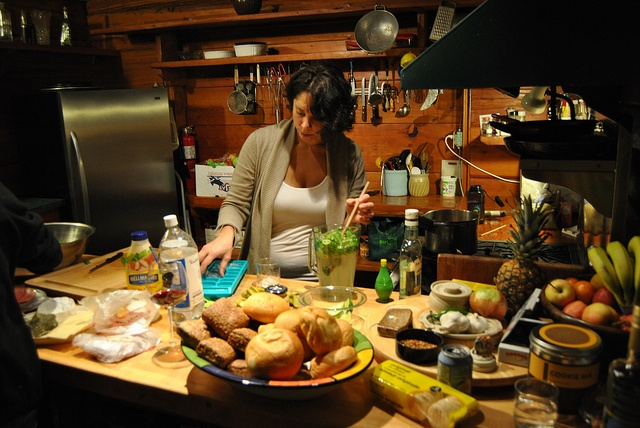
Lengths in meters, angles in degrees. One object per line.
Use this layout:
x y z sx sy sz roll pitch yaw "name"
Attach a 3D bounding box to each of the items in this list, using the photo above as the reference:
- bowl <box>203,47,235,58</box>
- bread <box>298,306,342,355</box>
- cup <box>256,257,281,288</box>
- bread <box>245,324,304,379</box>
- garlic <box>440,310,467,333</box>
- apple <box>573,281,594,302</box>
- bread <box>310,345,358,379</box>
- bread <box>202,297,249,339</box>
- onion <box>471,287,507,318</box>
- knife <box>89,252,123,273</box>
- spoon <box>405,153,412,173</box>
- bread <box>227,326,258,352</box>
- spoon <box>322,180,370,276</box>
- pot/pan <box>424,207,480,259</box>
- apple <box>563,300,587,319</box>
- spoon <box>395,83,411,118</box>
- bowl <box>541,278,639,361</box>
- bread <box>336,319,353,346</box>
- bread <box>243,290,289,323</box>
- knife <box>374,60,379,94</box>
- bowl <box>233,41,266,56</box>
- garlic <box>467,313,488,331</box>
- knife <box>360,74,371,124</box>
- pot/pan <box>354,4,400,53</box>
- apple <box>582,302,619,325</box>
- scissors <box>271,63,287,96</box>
-0.898 -1.389 3.936 0.327 0.074 0.101 3 15 25 "bowl"
0.007 0.355 1.417 0.102 0.155 0.047 -29 4 -1 "bread"
-0.200 0.254 1.893 0.100 0.108 0.102 0 2 0 "cup"
-0.131 0.412 1.380 0.147 0.110 0.145 0 2 0 "bread"
0.448 0.360 1.512 0.074 0.048 0.073 -4 14 -31 "garlic"
0.878 0.258 1.495 0.063 0.073 0.061 4 -19 -5 "apple"
0.037 0.441 1.370 0.099 0.036 0.098 -14 -11 -37 "bread"
-0.312 0.338 1.487 0.126 0.058 0.122 35 37 28 "bread"
0.596 0.313 1.622 0.110 0.096 0.102 -14 -3 -21 "onion"
-1.028 0.238 2.182 0.025 0.025 0.186 14 26 23 "knife"
0.766 -0.449 3.833 0.028 0.109 0.116 1 -10 19 "spoon"
-0.244 0.389 1.410 0.076 0.038 0.076 17 25 4 "bread"
0.096 0.058 1.964 0.119 0.388 0.107 33 -13 -32 "spoon"
0.681 0.117 2.429 0.295 0.217 0.413 4 15 27 "pot/pan"
0.815 0.304 1.461 0.060 0.052 0.054 -12 34 -22 "apple"
0.726 -0.941 3.865 0.132 0.222 0.081 -7 14 -12 "spoon"
0.826 0.327 1.365 0.234 0.104 0.235 9 0 0 "bowl"
0.085 0.372 1.456 0.080 0.075 0.078 0 19 3 "bread"
-0.177 0.312 1.529 0.130 0.070 0.094 7 -5 17 "bread"
0.482 -1.155 3.786 0.027 0.268 0.029 0 -2 -2 "knife"
-0.582 -1.402 3.847 0.278 0.123 0.161 -6 14 -9 "bowl"
0.532 0.372 1.516 0.058 0.057 0.057 -5 8 18 "garlic"
0.380 -0.970 3.837 0.055 0.366 0.018 3 -2 13 "knife"
0.441 -1.405 3.462 0.303 0.373 0.112 11 21 14 "pot/pan"
0.869 0.311 1.400 0.074 0.073 0.076 24 11 38 "apple"
-0.365 -1.219 4.058 0.142 0.254 0.066 14 18 33 "scissors"
